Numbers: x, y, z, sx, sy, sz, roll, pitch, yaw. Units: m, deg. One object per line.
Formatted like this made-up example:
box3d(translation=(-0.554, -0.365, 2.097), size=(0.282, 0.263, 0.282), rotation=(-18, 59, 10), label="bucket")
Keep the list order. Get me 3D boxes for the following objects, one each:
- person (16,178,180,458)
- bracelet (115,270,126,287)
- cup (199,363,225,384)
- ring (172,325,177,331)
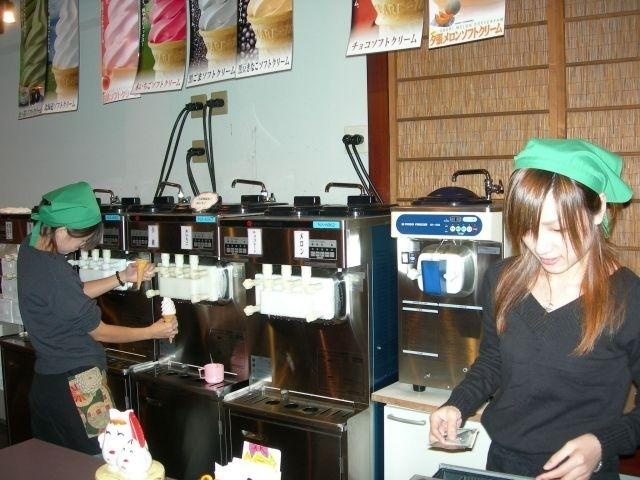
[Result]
box3d(translation=(-1.228, 0.394, 2.689), size=(0.634, 1.381, 0.430), rotation=(-4, 5, -29), label="person")
box3d(translation=(-1.207, 0.243, 3.098), size=(0.021, 0.080, 0.065), rotation=(-9, 15, -3), label="bracelet")
box3d(translation=(-0.634, 0.788, 2.982), size=(0.125, 0.094, 0.096), rotation=(-1, 3, -4), label="cup")
box3d(translation=(-0.848, 0.523, 2.987), size=(0.020, 0.039, 0.020), rotation=(0, -1, 0), label="ring")
